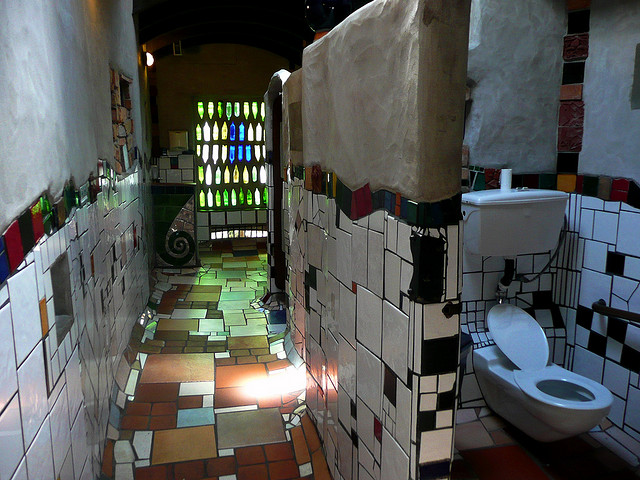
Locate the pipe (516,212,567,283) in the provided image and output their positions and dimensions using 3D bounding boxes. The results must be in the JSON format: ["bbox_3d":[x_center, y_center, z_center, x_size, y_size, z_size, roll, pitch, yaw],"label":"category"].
[{"bbox_3d":[1.591,0.060,3.638,0.405,0.500,0.094,-4,11,-28],"label":"pipe"}]

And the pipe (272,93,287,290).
[{"bbox_3d":[-0.437,-0.458,5.368,0.158,2.032,0.227,-3,11,-24],"label":"pipe"}]

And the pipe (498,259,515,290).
[{"bbox_3d":[1.285,0.236,3.499,0.084,0.220,0.047,5,10,15],"label":"pipe"}]

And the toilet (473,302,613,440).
[{"bbox_3d":[1.413,0.898,3.241,0.488,0.840,0.921,-1,7,-16],"label":"toilet"}]
